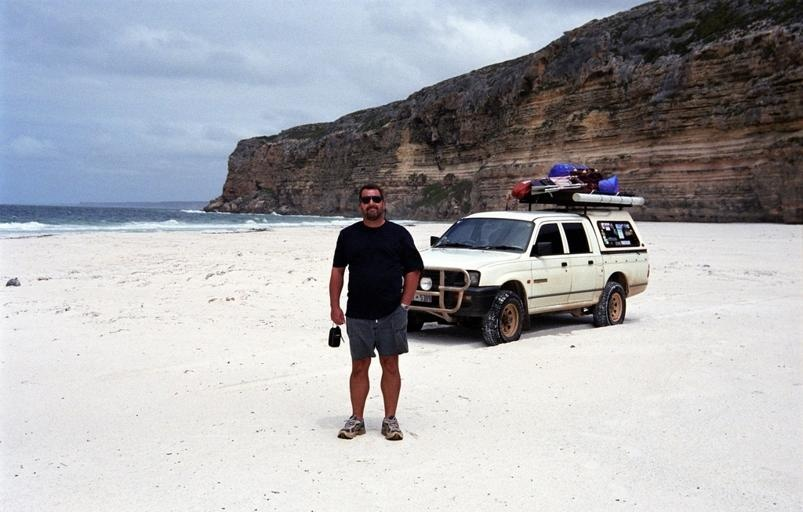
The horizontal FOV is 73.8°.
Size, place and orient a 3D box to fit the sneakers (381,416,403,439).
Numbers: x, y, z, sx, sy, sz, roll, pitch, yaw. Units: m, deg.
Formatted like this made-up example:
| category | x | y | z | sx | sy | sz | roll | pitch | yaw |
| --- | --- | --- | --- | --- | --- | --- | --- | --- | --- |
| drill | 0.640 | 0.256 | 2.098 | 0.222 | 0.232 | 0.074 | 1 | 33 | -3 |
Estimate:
| category | x | y | z | sx | sy | sz | roll | pitch | yaw |
| --- | --- | --- | --- | --- | --- | --- | --- | --- | --- |
| sneakers | -0.105 | 1.964 | 6.171 | 0.263 | 0.231 | 0.283 | 0 | 10 | -2 |

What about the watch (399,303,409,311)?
| category | x | y | z | sx | sy | sz | roll | pitch | yaw |
| --- | --- | --- | --- | --- | --- | --- | --- | --- | --- |
| watch | 0.016 | 0.586 | 6.207 | 0.133 | 0.099 | 0.074 | -3 | 20 | 6 |

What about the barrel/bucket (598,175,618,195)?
| category | x | y | z | sx | sy | sz | roll | pitch | yaw |
| --- | --- | --- | --- | --- | --- | --- | --- | --- | --- |
| barrel/bucket | 4.577 | -1.558 | 11.822 | 0.376 | 0.391 | 0.938 | 6 | 11 | 30 |

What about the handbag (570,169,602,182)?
| category | x | y | z | sx | sy | sz | roll | pitch | yaw |
| --- | --- | --- | --- | --- | --- | --- | --- | --- | --- |
| handbag | 4.019 | -1.769 | 11.724 | 0.763 | 0.326 | 0.482 | -1 | 10 | -5 |

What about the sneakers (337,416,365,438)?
| category | x | y | z | sx | sy | sz | roll | pitch | yaw |
| --- | --- | --- | --- | --- | --- | --- | --- | --- | --- |
| sneakers | -0.576 | 1.988 | 6.141 | 0.160 | 0.157 | 0.392 | -8 | -14 | 30 |

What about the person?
| category | x | y | z | sx | sy | sz | roll | pitch | yaw |
| --- | --- | --- | --- | --- | --- | --- | --- | --- | --- |
| person | -0.303 | 0.623 | 6.202 | 1.072 | 2.884 | 0.849 | 0 | 12 | 0 |

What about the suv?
| category | x | y | z | sx | sy | sz | roll | pitch | yaw |
| --- | --- | --- | --- | --- | --- | --- | --- | --- | --- |
| suv | 2.602 | 0.294 | 10.685 | 5.072 | 2.367 | 1.634 | -6 | 12 | -31 |
